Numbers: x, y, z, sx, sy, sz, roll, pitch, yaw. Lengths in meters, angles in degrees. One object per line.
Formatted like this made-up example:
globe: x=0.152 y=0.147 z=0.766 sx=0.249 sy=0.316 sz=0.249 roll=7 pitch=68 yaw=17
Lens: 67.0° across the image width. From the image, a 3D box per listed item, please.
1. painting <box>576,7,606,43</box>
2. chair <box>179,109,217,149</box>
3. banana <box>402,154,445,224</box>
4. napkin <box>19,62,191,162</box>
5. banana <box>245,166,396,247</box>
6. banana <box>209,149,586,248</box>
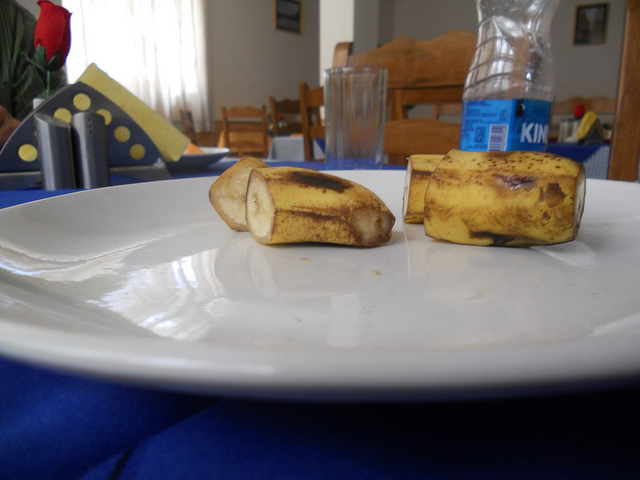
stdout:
painting: x=3.209 y=-2.540 z=5.714 sx=0.281 sy=0.388 sz=0.047 roll=7 pitch=16 yaw=26
chair: x=-1.254 y=-1.134 z=4.929 sx=0.307 sy=0.386 sz=0.837 roll=-1 pitch=15 yaw=-3
banana: x=0.097 y=-0.055 z=0.498 sx=0.053 sy=0.068 sz=0.049 roll=1 pitch=17 yaw=2
napkin: x=-0.351 y=-0.190 z=0.805 sx=0.097 sy=0.166 sz=0.313 roll=3 pitch=16 yaw=24
banana: x=0.001 y=-0.030 z=0.444 sx=0.123 sy=0.053 sz=0.074 roll=9 pitch=47 yaw=5
banana: x=0.067 y=-0.033 z=0.431 sx=0.275 sy=0.085 sz=0.145 roll=0 pitch=-1 yaw=7
